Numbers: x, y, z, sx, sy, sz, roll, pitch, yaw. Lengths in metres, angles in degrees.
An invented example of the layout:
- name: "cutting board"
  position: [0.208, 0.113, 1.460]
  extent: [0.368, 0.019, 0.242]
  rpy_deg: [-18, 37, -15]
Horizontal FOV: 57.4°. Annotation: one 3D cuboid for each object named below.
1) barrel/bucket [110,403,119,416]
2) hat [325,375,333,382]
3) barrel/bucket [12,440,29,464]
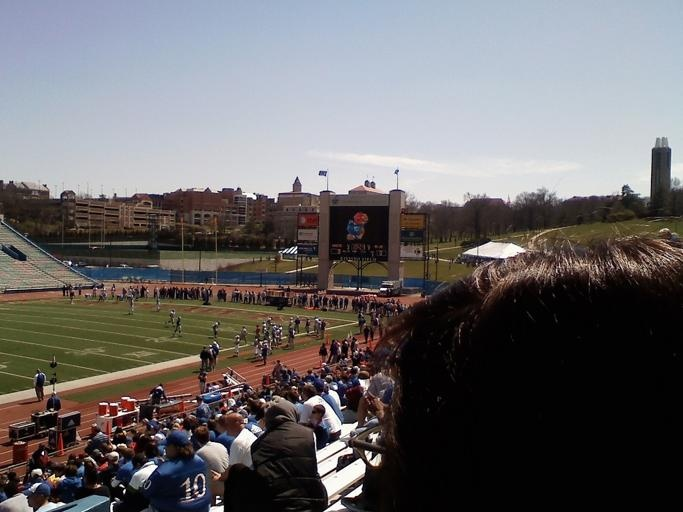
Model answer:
- name: "barrel/bucket"
  position: [-6.075, 4.100, 16.730]
  extent: [0.278, 0.268, 0.271]
  rpy_deg: [2, 1, 0]
- name: "hat"
  position: [-0.250, 2.427, 12.354]
  extent: [0.091, 0.119, 0.121]
  rpy_deg: [23, 16, 35]
- name: "barrel/bucket"
  position: [-7.482, 4.587, 14.545]
  extent: [0.298, 0.443, 0.371]
  rpy_deg: [0, 1, -20]
